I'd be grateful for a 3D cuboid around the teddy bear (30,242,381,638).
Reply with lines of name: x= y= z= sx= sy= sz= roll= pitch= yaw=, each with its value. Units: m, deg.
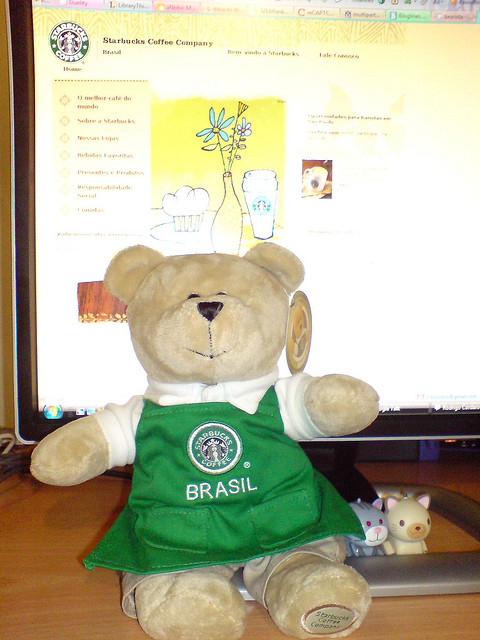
teddy bear: x=0.030 y=0.071 z=0.500 sx=0.341 sy=0.294 sz=0.250 roll=-3 pitch=10 yaw=-11
